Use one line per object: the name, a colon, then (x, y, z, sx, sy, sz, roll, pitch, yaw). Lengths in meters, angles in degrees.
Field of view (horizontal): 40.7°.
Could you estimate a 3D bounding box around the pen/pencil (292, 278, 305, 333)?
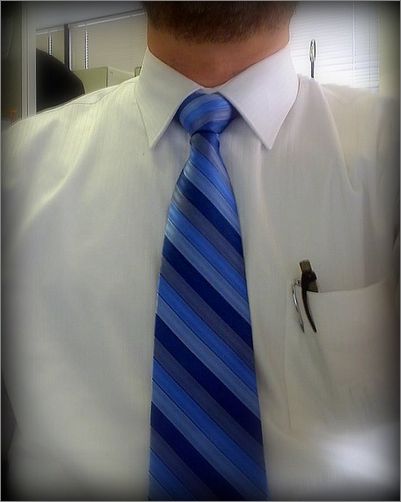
pen/pencil: (0.127, 0.071, 0.707, 0.009, 0.026, 0.058, 1, 90, 3)
